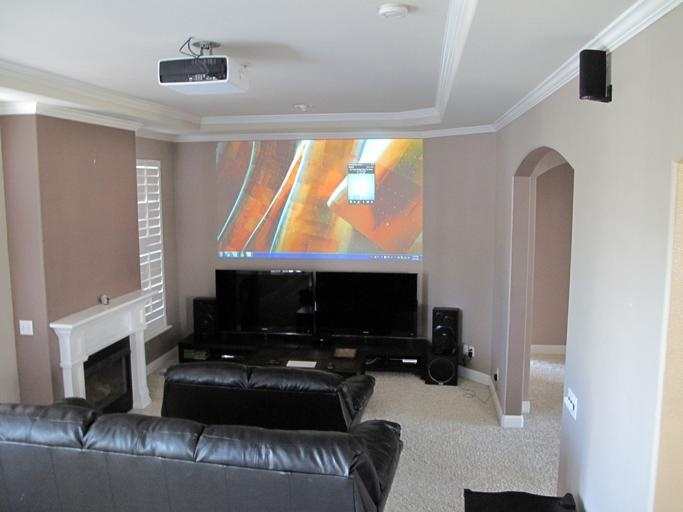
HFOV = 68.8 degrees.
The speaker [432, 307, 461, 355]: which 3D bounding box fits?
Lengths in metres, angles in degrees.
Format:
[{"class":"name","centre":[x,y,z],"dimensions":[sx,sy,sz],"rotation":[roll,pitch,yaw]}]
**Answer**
[{"class":"speaker","centre":[1.281,0.939,6.237],"dimensions":[0.299,0.580,0.149],"rotation":[1,11,3]}]

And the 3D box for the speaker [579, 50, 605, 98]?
[{"class":"speaker","centre":[1.396,-1.004,2.776],"dimensions":[0.152,0.267,0.114],"rotation":[5,12,20]}]

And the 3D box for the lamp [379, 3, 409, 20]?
[{"class":"lamp","centre":[0.304,-1.420,2.896],"dimensions":[0.189,0.039,0.140],"rotation":[1,12,1]}]

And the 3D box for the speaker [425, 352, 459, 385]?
[{"class":"speaker","centre":[1.246,1.424,6.240],"dimensions":[0.355,0.378,0.376],"rotation":[0,-1,10]}]
